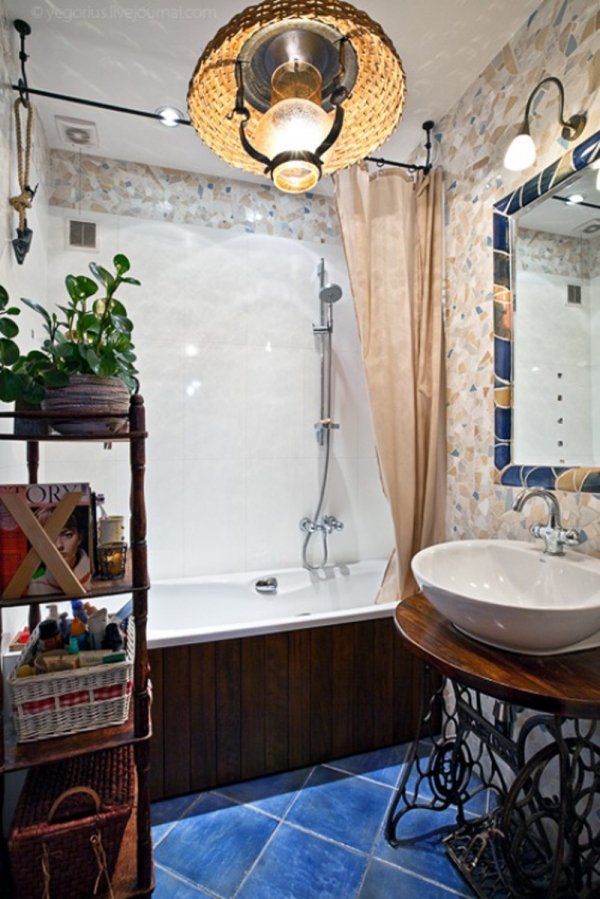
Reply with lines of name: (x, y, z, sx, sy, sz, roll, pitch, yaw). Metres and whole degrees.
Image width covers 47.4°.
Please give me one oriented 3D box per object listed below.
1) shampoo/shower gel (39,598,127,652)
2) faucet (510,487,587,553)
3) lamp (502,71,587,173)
shampoo/shower gel: (-0.542, 0.432, 1.718, 0.180, 0.093, 0.110, 2, -1, -28)
faucet: (0.638, 0.193, 1.807, 0.131, 0.188, 0.182, -4, 2, -11)
lamp: (0.668, -0.881, 1.869, 0.153, 0.263, 0.065, 16, -4, 2)
